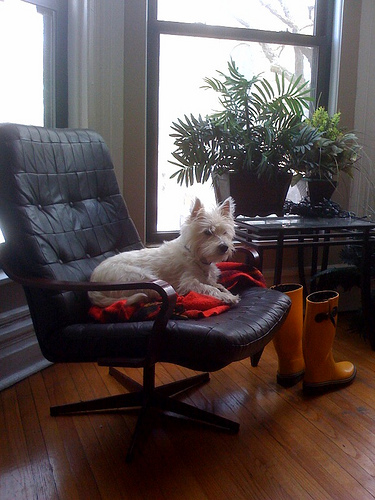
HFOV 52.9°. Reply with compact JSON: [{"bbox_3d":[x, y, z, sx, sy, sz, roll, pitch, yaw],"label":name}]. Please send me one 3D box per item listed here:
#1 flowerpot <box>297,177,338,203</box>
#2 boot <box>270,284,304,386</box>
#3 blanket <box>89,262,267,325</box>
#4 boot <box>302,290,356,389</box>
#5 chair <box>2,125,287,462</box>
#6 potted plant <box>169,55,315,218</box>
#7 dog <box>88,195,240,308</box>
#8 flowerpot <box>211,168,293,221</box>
[{"bbox_3d":[0.810,-0.365,2.369,0.195,0.145,0.174,1,7,-1],"label":"flowerpot"},{"bbox_3d":[0.451,0.384,1.660,0.139,0.431,0.106,1,6,8],"label":"boot"},{"bbox_3d":[-0.014,0.155,1.486,0.418,0.127,0.826,4,7,34],"label":"blanket"},{"bbox_3d":[0.623,0.391,1.663,0.311,0.404,0.143,-3,7,-28],"label":"boot"},{"bbox_3d":[-0.196,0.070,1.788,1.221,1.433,1.000,4,9,22],"label":"chair"},{"bbox_3d":[0.341,-0.633,2.209,0.701,0.782,0.693,2,24,19],"label":"potted plant"},{"bbox_3d":[-0.101,0.011,1.601,0.600,0.484,0.377,-1,-7,6],"label":"dog"},{"bbox_3d":[0.376,-0.322,2.159,0.369,0.308,0.335,0,8,-7],"label":"flowerpot"}]
